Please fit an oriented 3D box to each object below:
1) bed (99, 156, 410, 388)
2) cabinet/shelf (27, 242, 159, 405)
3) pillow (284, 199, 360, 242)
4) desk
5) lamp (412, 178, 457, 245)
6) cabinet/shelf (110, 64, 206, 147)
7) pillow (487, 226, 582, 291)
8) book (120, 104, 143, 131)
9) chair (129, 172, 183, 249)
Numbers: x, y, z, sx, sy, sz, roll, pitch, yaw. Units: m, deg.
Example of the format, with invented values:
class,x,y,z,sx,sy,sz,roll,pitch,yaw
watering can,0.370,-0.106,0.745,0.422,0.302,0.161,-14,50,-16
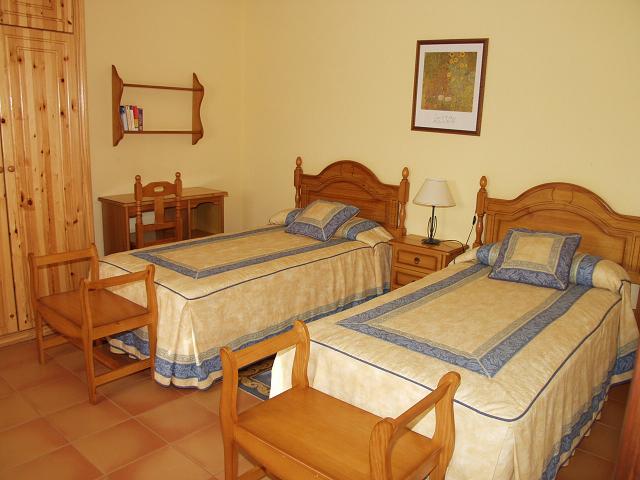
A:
class,x,y,z,sx,sy,sz,roll,pitch,yaw
bed,-0.504,0.208,4.472,2.755,1.493,1.669,-13,20,-43
cabinet/shelf,-1.641,0.574,3.382,0.866,0.929,0.603,15,19,41
pillow,0.005,-0.233,4.751,0.611,0.159,0.661,14,42,37
desk,-1.739,-0.165,5.096,0.562,0.720,1.149,15,17,36
lamp,1.073,-0.277,4.343,0.393,0.609,0.385,-4,16,-20
cabinet/shelf,-1.798,-1.475,4.977,0.209,0.771,1.024,13,14,43
pillow,1.690,0.136,3.621,0.539,0.361,0.488,11,16,31
book,-1.969,-1.273,4.766,0.162,0.263,0.271,4,14,16
chair,-1.794,-0.280,4.899,0.490,0.867,0.566,24,27,38
